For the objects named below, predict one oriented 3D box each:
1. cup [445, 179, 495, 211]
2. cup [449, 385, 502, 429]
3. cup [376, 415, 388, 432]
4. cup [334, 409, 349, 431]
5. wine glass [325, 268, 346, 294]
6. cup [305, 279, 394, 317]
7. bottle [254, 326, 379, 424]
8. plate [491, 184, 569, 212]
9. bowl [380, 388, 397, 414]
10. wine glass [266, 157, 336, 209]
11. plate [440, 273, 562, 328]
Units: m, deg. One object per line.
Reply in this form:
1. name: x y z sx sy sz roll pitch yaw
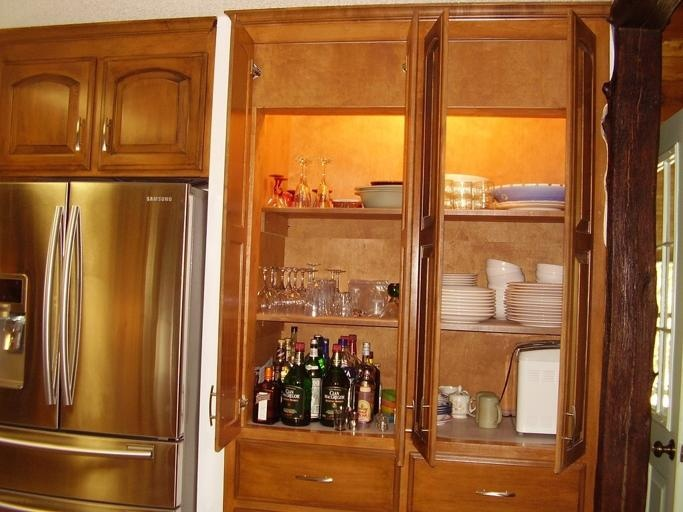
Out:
1. cup: 0.574 -0.284 2.938 0.159 0.113 0.165 2 -2 0
2. cup: 0.625 0.704 3.091 0.114 0.196 0.309 -1 5 -34
3. cup: 0.184 0.752 2.905 0.058 0.065 0.061 0 -4 0
4. cup: -0.002 0.742 2.971 0.074 0.123 0.086 0 0 -11
5. wine glass: -0.026 0.122 3.239 0.105 0.125 0.109 0 -6 1
6. cup: 0.028 0.206 3.029 0.307 0.151 0.192 2 -10 2
7. bottle: -0.057 0.575 3.010 0.476 0.389 0.381 2 -6 -8
8. plate: 0.833 -0.263 2.911 0.314 0.133 0.102 -3 -6 28
9. bowl: 0.223 0.692 3.094 0.071 0.080 0.084 2 -8 -2
10. wine glass: -0.143 -0.345 3.230 0.421 0.331 0.178 2 2 5
11. plate: 0.721 0.222 2.957 0.521 0.204 0.238 -1 -6 9
